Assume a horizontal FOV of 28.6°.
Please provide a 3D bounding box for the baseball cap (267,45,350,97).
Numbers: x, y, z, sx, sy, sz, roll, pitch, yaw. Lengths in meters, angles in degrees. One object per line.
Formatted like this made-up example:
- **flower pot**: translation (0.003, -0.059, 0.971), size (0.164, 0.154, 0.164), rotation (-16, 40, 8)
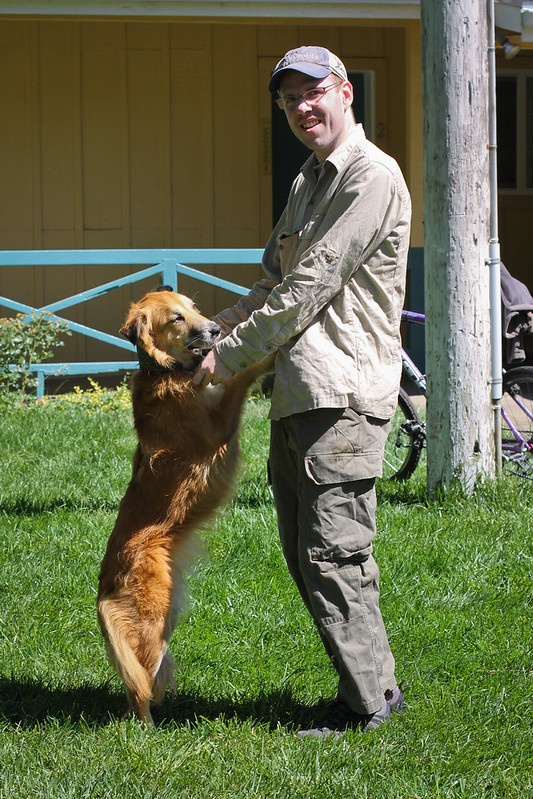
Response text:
- **baseball cap**: translation (0.114, -1.067, 3.296), size (0.202, 0.138, 0.275), rotation (-3, 7, 21)

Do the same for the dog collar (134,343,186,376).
- **dog collar**: translation (-0.405, -0.159, 3.872), size (0.122, 0.086, 0.122), rotation (-1, 3, 3)

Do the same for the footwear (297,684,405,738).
- **footwear**: translation (0.271, 1.020, 3.467), size (0.397, 0.173, 0.136), rotation (-8, -10, -6)
